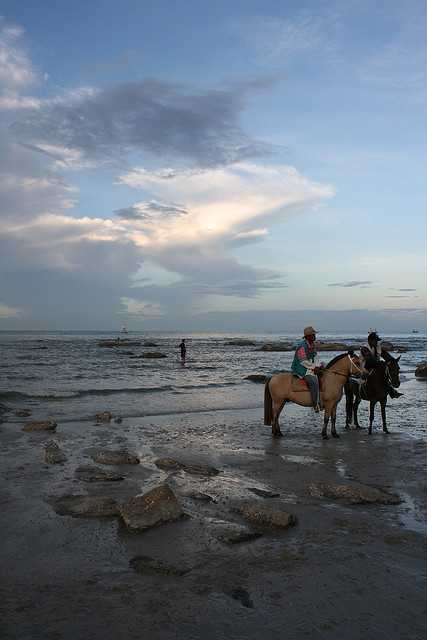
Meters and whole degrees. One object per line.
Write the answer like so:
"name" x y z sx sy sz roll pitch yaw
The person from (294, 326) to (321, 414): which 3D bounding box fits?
"person" 2.246 1.207 12.261 0.612 2.027 0.749 -1 -1 9
